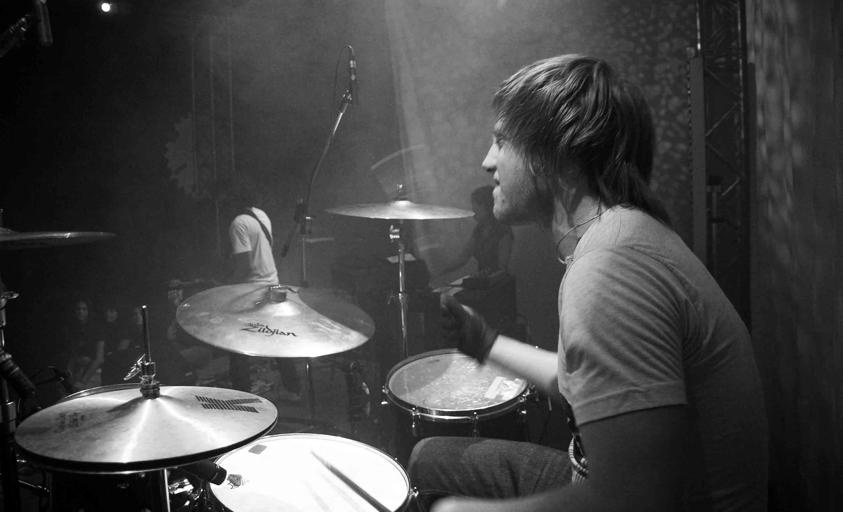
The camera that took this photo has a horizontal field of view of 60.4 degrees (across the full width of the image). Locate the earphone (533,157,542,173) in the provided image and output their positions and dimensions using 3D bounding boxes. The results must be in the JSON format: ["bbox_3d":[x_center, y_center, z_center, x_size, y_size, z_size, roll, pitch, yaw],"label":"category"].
[{"bbox_3d":[0.485,-0.380,3.038,0.013,0.048,0.052,-11,50,-42],"label":"earphone"}]

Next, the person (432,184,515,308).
[{"bbox_3d":[0.558,-0.077,5.178,0.766,0.893,0.587,0,-1,12],"label":"person"}]

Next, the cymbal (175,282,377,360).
[{"bbox_3d":[-0.823,0.366,3.984,0.661,0.141,0.630,17,20,1],"label":"cymbal"}]

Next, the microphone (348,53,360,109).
[{"bbox_3d":[-0.436,-1.136,4.652,0.032,0.316,0.076,5,9,38],"label":"microphone"}]
